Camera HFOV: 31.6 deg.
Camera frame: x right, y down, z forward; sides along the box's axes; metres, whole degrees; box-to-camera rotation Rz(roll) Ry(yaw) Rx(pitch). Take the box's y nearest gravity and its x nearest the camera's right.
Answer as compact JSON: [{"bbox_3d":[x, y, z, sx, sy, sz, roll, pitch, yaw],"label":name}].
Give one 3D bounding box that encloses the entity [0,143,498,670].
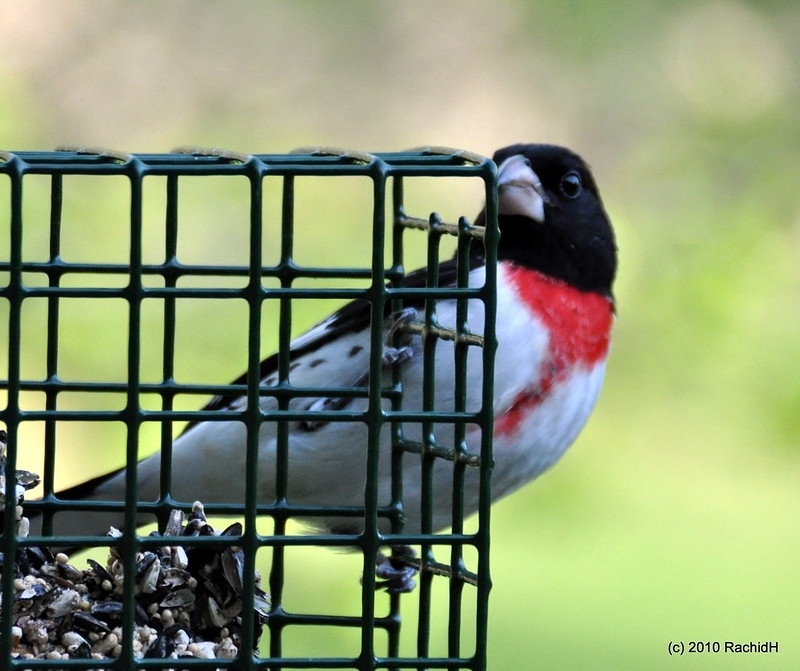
[{"bbox_3d":[-0.231,0.186,2.505,0.846,0.993,0.918,3,1,19],"label":"entity"}]
